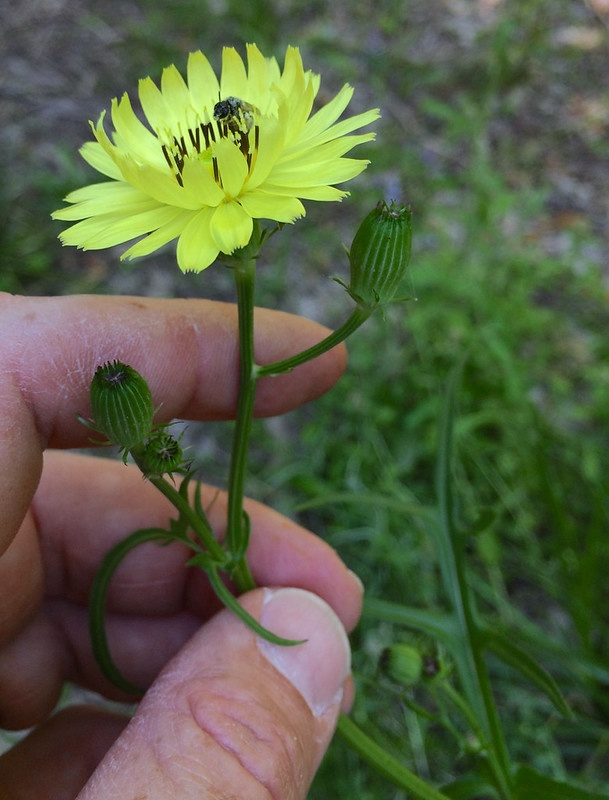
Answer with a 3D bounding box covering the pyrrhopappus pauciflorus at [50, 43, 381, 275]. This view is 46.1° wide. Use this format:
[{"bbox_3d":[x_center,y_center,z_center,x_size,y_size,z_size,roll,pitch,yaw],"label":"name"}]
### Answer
[{"bbox_3d":[-0.021,-0.151,0.501,0.218,0.073,0.209,1,37,45],"label":"pyrrhopappus pauciflorus"}]
